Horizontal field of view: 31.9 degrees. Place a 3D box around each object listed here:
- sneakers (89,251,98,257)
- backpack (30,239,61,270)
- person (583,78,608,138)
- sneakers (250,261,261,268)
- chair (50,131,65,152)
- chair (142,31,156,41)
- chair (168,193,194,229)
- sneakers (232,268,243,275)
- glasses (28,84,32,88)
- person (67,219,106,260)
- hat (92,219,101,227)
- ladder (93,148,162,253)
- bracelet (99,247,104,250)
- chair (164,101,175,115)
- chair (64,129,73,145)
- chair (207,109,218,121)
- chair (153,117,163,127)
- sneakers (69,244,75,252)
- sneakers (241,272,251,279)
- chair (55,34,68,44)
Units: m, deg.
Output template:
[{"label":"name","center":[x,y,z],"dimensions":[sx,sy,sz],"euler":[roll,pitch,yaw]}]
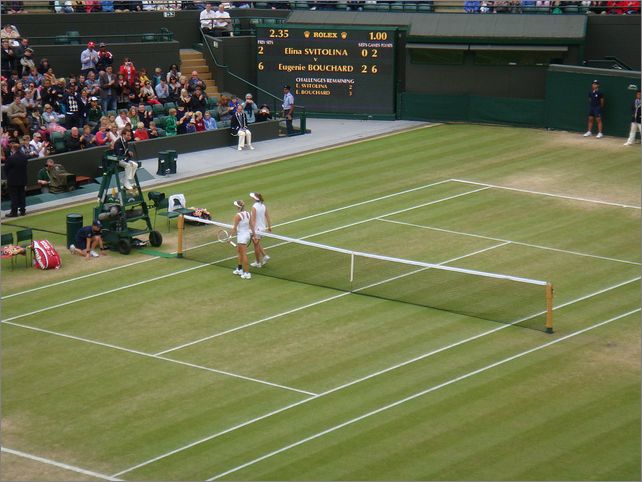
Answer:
[{"label":"sneakers","center":[-6.763,0.345,33.133],"dimensions":[0.234,0.154,0.328],"euler":[-5,19,-10]},{"label":"backpack","center":[-7.995,0.412,32.210],"dimensions":[0.836,0.754,0.491],"euler":[7,24,22]},{"label":"person","center":[10.979,-5.266,44.541],"dimensions":[0.721,2.437,1.124],"euler":[0,23,8]},{"label":"sneakers","center":[-1.905,0.668,32.188],"dimensions":[0.137,0.134,0.353],"euler":[-12,14,-43]},{"label":"chair","center":[-9.373,-3.495,39.615],"dimensions":[0.523,0.636,0.686],"euler":[-8,21,-13]},{"label":"chair","center":[-7.565,-8.933,48.852],"dimensions":[0.530,0.517,0.605],"euler":[-1,3,-14]},{"label":"chair","center":[-4.597,-1.130,35.349],"dimensions":[0.805,0.637,0.705],"euler":[-10,16,-39]},{"label":"sneakers","center":[-2.383,0.857,31.753],"dimensions":[0.128,0.112,0.302],"euler":[-10,15,-39]},{"label":"glasses","center":[-10.788,-5.743,41.374],"dimensions":[0.153,0.085,0.169],"euler":[1,17,-5]},{"label":"person","center":[-6.940,-0.081,33.170],"dimensions":[1.304,0.929,0.734],"euler":[2,12,7]},{"label":"hat","center":[-6.729,-0.539,33.285],"dimensions":[0.287,0.133,0.185],"euler":[19,4,22]},{"label":"ladder","center":[-5.952,-1.161,33.317],"dimensions":[1.758,2.902,1.574],"euler":[6,24,20]},{"label":"bracelet","center":[-6.571,0.225,33.446],"dimensions":[0.099,0.054,0.086],"euler":[-5,13,-20]},{"label":"chair","center":[-6.105,-5.293,44.473],"dimensions":[0.563,0.564,0.567],"euler":[-3,7,-26]},{"label":"chair","center":[-9.075,-3.704,39.776],"dimensions":[0.245,0.318,0.795],"euler":[-7,19,-11]},{"label":"chair","center":[-4.387,-5.151,45.602],"dimensions":[0.388,0.405,0.437],"euler":[-1,20,-5]},{"label":"chair","center":[-6.317,-4.640,43.586],"dimensions":[0.491,0.473,0.439],"euler":[-1,5,-19]},{"label":"sneakers","center":[-7.422,0.224,33.160],"dimensions":[0.163,0.265,0.246],"euler":[-7,21,-11]},{"label":"sneakers","center":[-2.118,0.963,31.515],"dimensions":[0.155,0.112,0.292],"euler":[-2,7,-23]},{"label":"chair","center":[-10.724,-8.227,45.782],"dimensions":[0.592,0.519,0.453],"euler":[0,56,-10]}]
